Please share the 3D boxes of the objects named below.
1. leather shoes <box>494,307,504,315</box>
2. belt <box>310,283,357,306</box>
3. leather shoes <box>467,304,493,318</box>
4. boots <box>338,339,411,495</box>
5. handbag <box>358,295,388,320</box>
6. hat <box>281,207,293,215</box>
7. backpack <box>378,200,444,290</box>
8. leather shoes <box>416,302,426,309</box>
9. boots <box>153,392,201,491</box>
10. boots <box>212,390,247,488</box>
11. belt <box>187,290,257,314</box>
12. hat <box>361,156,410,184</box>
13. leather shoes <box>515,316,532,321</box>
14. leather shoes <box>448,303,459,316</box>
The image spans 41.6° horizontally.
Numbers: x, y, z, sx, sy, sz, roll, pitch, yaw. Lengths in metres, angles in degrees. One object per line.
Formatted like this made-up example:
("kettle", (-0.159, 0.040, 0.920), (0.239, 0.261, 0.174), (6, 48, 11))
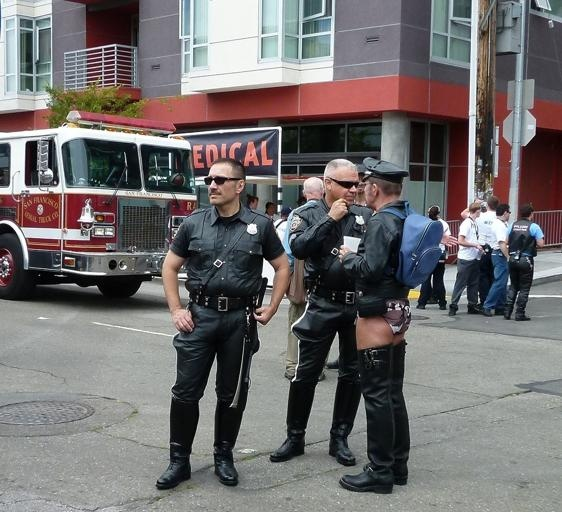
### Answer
("leather shoes", (3.788, 0.957, 12.847), (0.097, 0.134, 0.148), (0, -4, 1))
("belt", (0.392, 0.278, 5.362), (0.207, 0.057, 0.156), (13, 10, -14))
("leather shoes", (3.427, 0.935, 12.805), (0.168, 0.194, 0.490), (-3, 1, -39))
("boots", (0.654, 1.037, 4.889), (0.336, 0.930, 0.526), (3, 5, 31))
("handbag", (0.584, 0.327, 4.703), (0.234, 0.121, 0.155), (-2, 1, 4))
("hat", (0.096, -0.767, 12.301), (0.109, 0.130, 0.142), (15, 45, 41))
("backpack", (0.829, -0.076, 4.843), (0.367, 0.435, 0.449), (-7, 28, -42))
("leather shoes", (2.567, 0.900, 13.566), (0.137, 0.152, 0.382), (-1, 2, 7))
("boots", (-0.686, 1.190, 4.784), (0.205, 0.536, 0.346), (3, 5, 31))
("boots", (-0.343, 1.206, 4.898), (0.193, 0.514, 0.344), (1, 4, -5))
("belt", (-0.373, 0.297, 4.875), (0.438, 0.115, 0.136), (0, 4, -6))
("hat", (0.667, -0.562, 4.916), (0.212, 0.086, 0.234), (-6, 17, -34))
("leather shoes", (3.919, 0.993, 11.971), (0.245, 0.095, 0.089), (-3, 6, -39))
("leather shoes", (2.982, 0.925, 12.829), (0.150, 0.181, 0.430), (-3, -10, 15))
